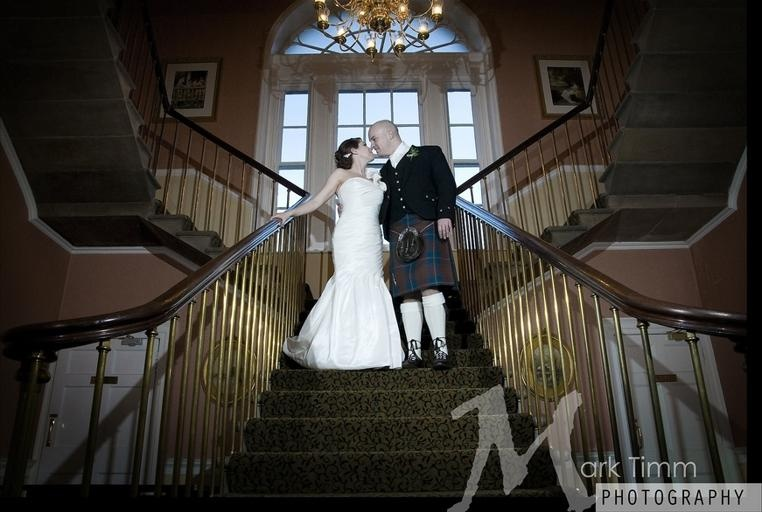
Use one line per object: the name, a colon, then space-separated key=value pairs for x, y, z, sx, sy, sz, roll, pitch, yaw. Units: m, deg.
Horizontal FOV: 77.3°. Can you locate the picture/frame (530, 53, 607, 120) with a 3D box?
picture/frame: x=2.825 y=-2.604 z=7.350 sx=0.863 sy=1.091 sz=0.167 roll=3 pitch=-12 yaw=-6

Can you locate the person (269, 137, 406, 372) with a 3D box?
person: x=-0.253 y=0.059 z=3.649 sx=0.857 sy=1.580 sz=0.299 roll=1 pitch=-12 yaw=2

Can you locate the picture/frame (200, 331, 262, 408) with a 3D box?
picture/frame: x=-1.089 y=0.897 z=3.646 sx=0.323 sy=0.565 sz=1.800 roll=4 pitch=-11 yaw=-13
